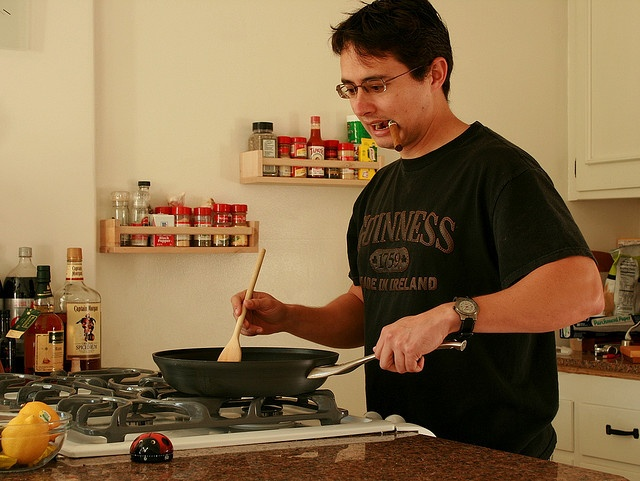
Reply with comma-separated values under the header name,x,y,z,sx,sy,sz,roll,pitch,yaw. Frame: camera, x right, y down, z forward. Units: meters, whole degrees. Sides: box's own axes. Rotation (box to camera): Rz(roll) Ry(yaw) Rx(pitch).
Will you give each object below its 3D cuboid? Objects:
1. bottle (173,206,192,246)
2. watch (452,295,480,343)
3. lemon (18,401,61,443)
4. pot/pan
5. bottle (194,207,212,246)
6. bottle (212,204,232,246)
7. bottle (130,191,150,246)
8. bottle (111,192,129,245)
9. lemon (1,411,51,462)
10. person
name,x,y,z,sx,sy,sz,roll,pitch,yaw
bottle,-0.485,-0.051,2.136,0.058,0.140,0.101,1,-2,21
watch,0.268,0.146,1.126,0.054,0.073,0.078,3,29,-1
lemon,-0.433,0.272,0.917,0.052,0.045,0.064,18,1,-40
pot/pan,-0.070,0.235,1.134,0.481,0.070,0.266,0,-5,10
bottle,-0.427,-0.052,2.149,0.070,0.142,0.072,2,-2,0
bottle,-0.357,-0.058,2.191,0.088,0.156,0.064,3,-2,-35
bottle,-0.642,-0.078,2.102,0.066,0.195,0.096,2,-2,-17
bottle,-0.700,-0.080,2.080,0.061,0.192,0.103,2,-2,-19
lemon,-0.435,0.291,0.877,0.063,0.055,0.053,2,-2,-23
person,0.237,-0.033,1.357,0.558,1.037,0.725,3,-2,-39
